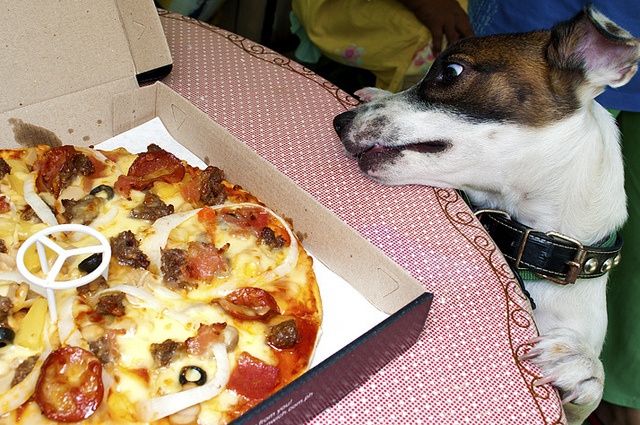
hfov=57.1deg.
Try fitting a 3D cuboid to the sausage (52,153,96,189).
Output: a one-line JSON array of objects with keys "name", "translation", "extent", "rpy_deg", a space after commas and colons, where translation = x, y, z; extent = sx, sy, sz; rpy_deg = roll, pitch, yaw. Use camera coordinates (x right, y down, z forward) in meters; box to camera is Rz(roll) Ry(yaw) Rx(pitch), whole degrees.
[{"name": "sausage", "translation": [-0.804, -0.142, 1.932], "extent": [0.085, 0.038, 0.128], "rpy_deg": [29, 78, 7]}]

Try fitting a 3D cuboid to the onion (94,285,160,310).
[{"name": "onion", "translation": [-0.531, 0.232, 1.666], "extent": [0.120, 0.034, 0.084], "rpy_deg": [18, 95, -11]}]

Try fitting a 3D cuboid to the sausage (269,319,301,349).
[{"name": "sausage", "translation": [-0.102, 0.349, 1.682], "extent": [0.081, 0.044, 0.074], "rpy_deg": [-13, 62, -15]}]

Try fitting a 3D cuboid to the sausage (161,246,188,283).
[{"name": "sausage", "translation": [-0.417, 0.142, 1.714], "extent": [0.090, 0.026, 0.085], "rpy_deg": [2, 82, -33]}]

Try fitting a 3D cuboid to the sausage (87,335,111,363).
[{"name": "sausage", "translation": [-0.575, 0.361, 1.565], "extent": [0.052, 0.017, 0.073], "rpy_deg": [-31, 67, -23]}]

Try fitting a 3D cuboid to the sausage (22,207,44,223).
[{"name": "sausage", "translation": [-0.895, 0.006, 1.837], "extent": [0.055, 0.014, 0.052], "rpy_deg": [33, 62, 8]}]

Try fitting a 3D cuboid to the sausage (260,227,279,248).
[{"name": "sausage", "translation": [-0.161, 0.078, 1.870], "extent": [0.039, 0.017, 0.066], "rpy_deg": [-34, 91, -22]}]

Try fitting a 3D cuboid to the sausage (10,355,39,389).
[{"name": "sausage", "translation": [-0.769, 0.417, 1.542], "extent": [0.070, 0.115, 0.019], "rpy_deg": [-13, 105, -8]}]

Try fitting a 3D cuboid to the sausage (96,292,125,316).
[{"name": "sausage", "translation": [-0.579, 0.257, 1.638], "extent": [0.060, 0.018, 0.057], "rpy_deg": [8, 59, -18]}]
